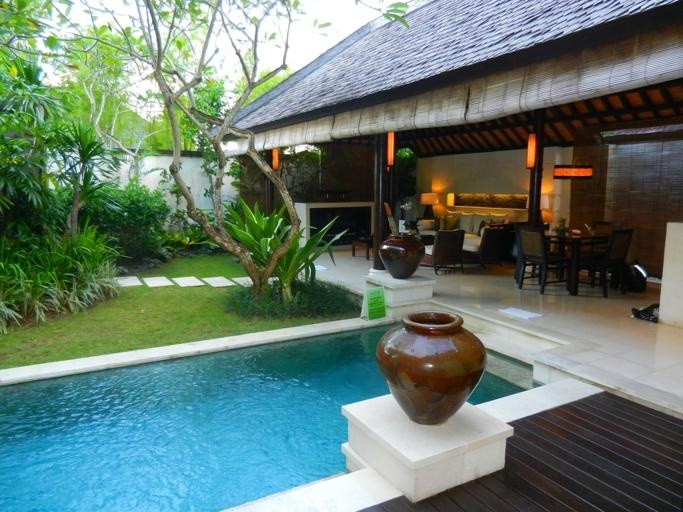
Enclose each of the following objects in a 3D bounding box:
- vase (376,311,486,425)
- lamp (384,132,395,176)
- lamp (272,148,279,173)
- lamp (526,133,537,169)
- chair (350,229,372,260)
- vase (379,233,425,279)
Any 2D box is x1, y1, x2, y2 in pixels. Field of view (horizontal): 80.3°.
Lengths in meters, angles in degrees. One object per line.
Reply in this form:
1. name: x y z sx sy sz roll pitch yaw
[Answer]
1. vase: 0.557 0.718 2.614 0.736 0.592 0.688 1 3 -40
2. lamp: 0.813 -1.758 6.924 0.148 0.632 0.239 4 15 10
3. lamp: -1.789 -2.564 10.893 0.168 0.567 0.548 -2 14 -15
4. lamp: 3.891 -2.141 8.327 0.150 0.701 0.259 3 15 7
5. chair: 0.563 -0.248 10.613 0.732 0.448 0.914 0 8 -3
6. vase: 0.905 0.004 6.265 0.759 0.635 0.705 -6 13 -19
